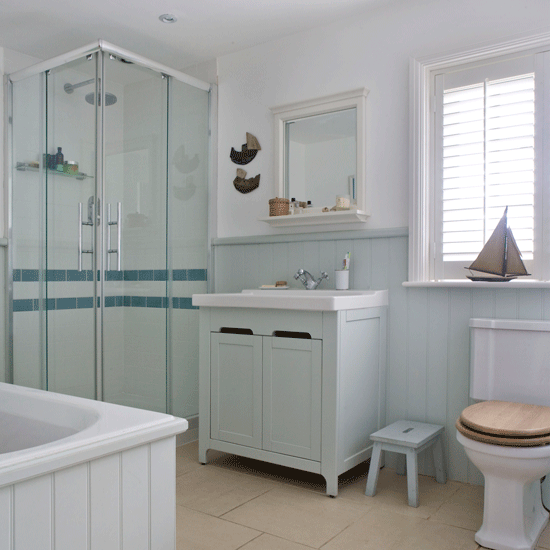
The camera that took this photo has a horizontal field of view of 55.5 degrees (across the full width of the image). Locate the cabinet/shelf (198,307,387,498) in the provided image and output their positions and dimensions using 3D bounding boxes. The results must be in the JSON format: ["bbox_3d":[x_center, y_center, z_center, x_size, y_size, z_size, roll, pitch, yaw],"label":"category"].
[{"bbox_3d":[0.038,0.508,2.696,0.749,0.980,0.496,2,6,24],"label":"cabinet/shelf"}]

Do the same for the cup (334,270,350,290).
[{"bbox_3d":[0.347,0.021,2.752,0.066,0.112,0.088,0,-3,6],"label":"cup"}]

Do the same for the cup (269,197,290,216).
[{"bbox_3d":[0.018,-0.388,3.047,0.090,0.086,0.100,-1,-3,17],"label":"cup"}]

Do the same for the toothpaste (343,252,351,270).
[{"bbox_3d":[0.380,-0.074,2.808,0.038,0.098,0.116,0,0,7],"label":"toothpaste"}]

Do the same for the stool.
[{"bbox_3d":[0.612,0.792,2.389,0.252,0.325,0.335,-2,-3,34],"label":"stool"}]

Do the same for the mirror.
[{"bbox_3d":[0.265,-0.686,2.899,0.660,0.880,0.062,-1,-1,40],"label":"mirror"}]

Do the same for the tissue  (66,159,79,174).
[{"bbox_3d":[-1.055,-0.564,2.726,0.057,0.062,0.063,-1,3,-19],"label":"tissue "}]
